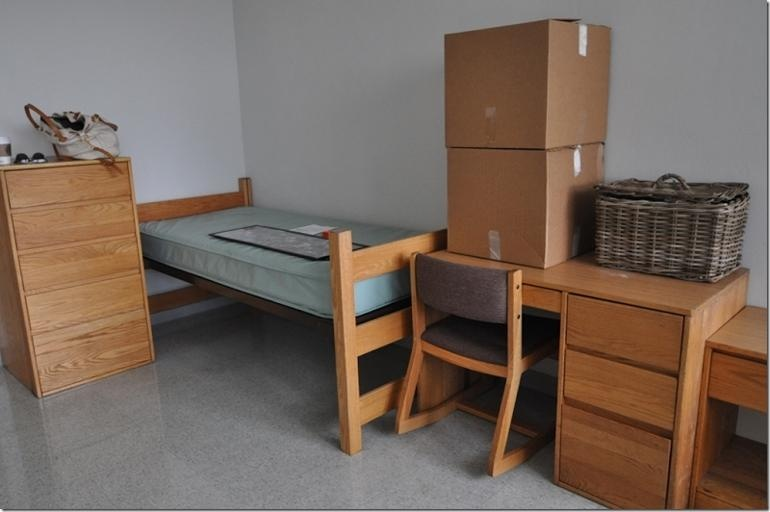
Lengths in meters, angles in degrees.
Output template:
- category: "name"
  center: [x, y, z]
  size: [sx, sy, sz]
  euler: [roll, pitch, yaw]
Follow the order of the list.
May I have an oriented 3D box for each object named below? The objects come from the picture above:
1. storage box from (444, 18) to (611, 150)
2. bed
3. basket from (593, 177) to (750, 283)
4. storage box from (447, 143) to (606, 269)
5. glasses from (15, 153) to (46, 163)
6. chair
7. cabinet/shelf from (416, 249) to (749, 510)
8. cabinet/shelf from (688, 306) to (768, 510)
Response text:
- category: "storage box"
  center: [0.760, -0.922, 2.919]
  size: [0.869, 0.544, 0.864]
  euler: [-5, 16, -18]
- category: "bed"
  center: [-0.719, 0.153, 3.767]
  size: [2.477, 1.179, 1.107]
  euler: [15, 24, 41]
- category: "basket"
  center: [1.420, -0.144, 2.627]
  size: [0.460, 0.387, 0.617]
  euler: [-15, 16, -32]
- category: "storage box"
  center: [0.714, -0.342, 2.994]
  size: [0.741, 0.555, 0.718]
  euler: [12, 19, 41]
- category: "glasses"
  center: [-2.249, -0.620, 3.367]
  size: [0.167, 0.055, 0.267]
  euler: [-12, 20, -32]
- category: "chair"
  center: [0.581, 0.494, 2.905]
  size: [0.882, 0.982, 1.052]
  euler: [4, 13, 34]
- category: "cabinet/shelf"
  center: [1.033, 0.476, 2.985]
  size: [1.936, 1.295, 0.995]
  euler: [7, 12, 33]
- category: "cabinet/shelf"
  center: [1.587, 0.699, 2.411]
  size: [0.339, 0.763, 0.568]
  euler: [11, 22, 31]
